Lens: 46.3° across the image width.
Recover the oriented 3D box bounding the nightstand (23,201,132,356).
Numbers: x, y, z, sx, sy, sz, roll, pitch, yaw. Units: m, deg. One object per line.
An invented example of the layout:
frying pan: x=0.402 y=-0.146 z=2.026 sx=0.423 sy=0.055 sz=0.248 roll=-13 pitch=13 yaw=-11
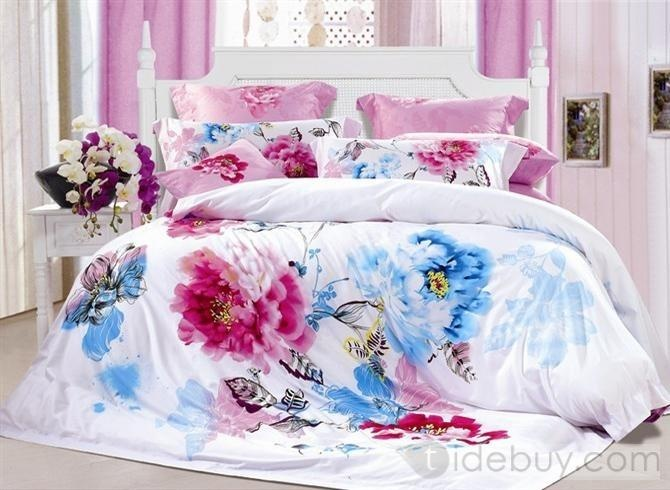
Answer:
nightstand: x=-1.176 y=0.165 z=3.950 sx=0.609 sy=1.006 sz=0.580 roll=-1 pitch=3 yaw=-6
